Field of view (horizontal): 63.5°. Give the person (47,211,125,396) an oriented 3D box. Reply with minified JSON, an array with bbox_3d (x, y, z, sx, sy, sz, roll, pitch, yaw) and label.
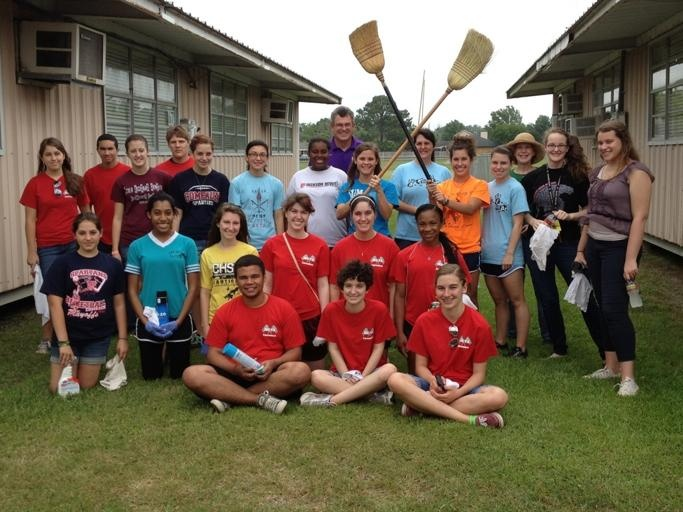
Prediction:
[{"bbox_3d":[-2.172,0.375,4.668,0.648,1.452,0.422,-5,11,-22],"label":"person"}]

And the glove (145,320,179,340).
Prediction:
[{"bbox_3d":[-1.578,0.640,4.846,0.166,0.097,0.204,15,-15,-37],"label":"glove"}]

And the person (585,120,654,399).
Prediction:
[{"bbox_3d":[2.275,-0.017,4.506,0.351,2.131,0.663,-4,10,-16],"label":"person"}]

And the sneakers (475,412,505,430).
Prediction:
[{"bbox_3d":[1.055,1.155,3.937,0.218,0.097,0.082,7,6,1],"label":"sneakers"}]

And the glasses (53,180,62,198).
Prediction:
[{"bbox_3d":[-2.834,-0.670,5.491,0.079,0.151,0.034,0,-11,-18],"label":"glasses"}]

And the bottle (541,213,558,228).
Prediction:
[{"bbox_3d":[1.979,-0.333,5.215,0.114,0.126,0.105,4,11,27],"label":"bottle"}]

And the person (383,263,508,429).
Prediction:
[{"bbox_3d":[0.844,0.561,4.437,1.154,1.454,1.025,1,5,11],"label":"person"}]

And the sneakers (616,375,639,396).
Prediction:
[{"bbox_3d":[2.303,1.028,4.435,0.110,0.081,0.189,-1,5,21],"label":"sneakers"}]

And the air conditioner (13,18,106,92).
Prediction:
[{"bbox_3d":[-3.577,-2.562,7.060,0.638,0.877,1.241,0,12,-10],"label":"air conditioner"}]

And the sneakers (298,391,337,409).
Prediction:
[{"bbox_3d":[-0.189,1.113,4.288,0.215,0.110,0.087,1,-6,-15],"label":"sneakers"}]

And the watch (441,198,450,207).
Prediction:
[{"bbox_3d":[0.945,-0.484,4.976,0.047,0.068,0.072,15,17,30],"label":"watch"}]

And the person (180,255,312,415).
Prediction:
[{"bbox_3d":[-0.706,0.555,4.738,1.192,1.407,1.064,2,1,-3],"label":"person"}]

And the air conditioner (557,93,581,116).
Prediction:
[{"bbox_3d":[6.034,-3.966,14.446,0.465,0.512,0.782,2,11,13],"label":"air conditioner"}]

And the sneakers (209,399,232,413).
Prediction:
[{"bbox_3d":[-0.929,1.122,4.178,0.069,0.068,0.169,-3,-7,-2],"label":"sneakers"}]

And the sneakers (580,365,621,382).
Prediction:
[{"bbox_3d":[2.264,1.022,4.817,0.350,0.136,0.108,2,-6,0],"label":"sneakers"}]

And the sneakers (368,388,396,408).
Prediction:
[{"bbox_3d":[0.321,1.107,4.333,0.247,0.111,0.087,4,-4,13],"label":"sneakers"}]

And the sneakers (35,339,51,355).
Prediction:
[{"bbox_3d":[-3.059,0.928,5.650,0.079,0.098,0.238,2,-4,-16],"label":"sneakers"}]

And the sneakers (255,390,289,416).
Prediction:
[{"bbox_3d":[-0.535,1.103,4.164,0.276,0.102,0.127,2,-29,48],"label":"sneakers"}]

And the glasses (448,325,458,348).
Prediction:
[{"bbox_3d":[0.846,0.599,4.166,0.083,0.144,0.056,-1,9,22],"label":"glasses"}]
